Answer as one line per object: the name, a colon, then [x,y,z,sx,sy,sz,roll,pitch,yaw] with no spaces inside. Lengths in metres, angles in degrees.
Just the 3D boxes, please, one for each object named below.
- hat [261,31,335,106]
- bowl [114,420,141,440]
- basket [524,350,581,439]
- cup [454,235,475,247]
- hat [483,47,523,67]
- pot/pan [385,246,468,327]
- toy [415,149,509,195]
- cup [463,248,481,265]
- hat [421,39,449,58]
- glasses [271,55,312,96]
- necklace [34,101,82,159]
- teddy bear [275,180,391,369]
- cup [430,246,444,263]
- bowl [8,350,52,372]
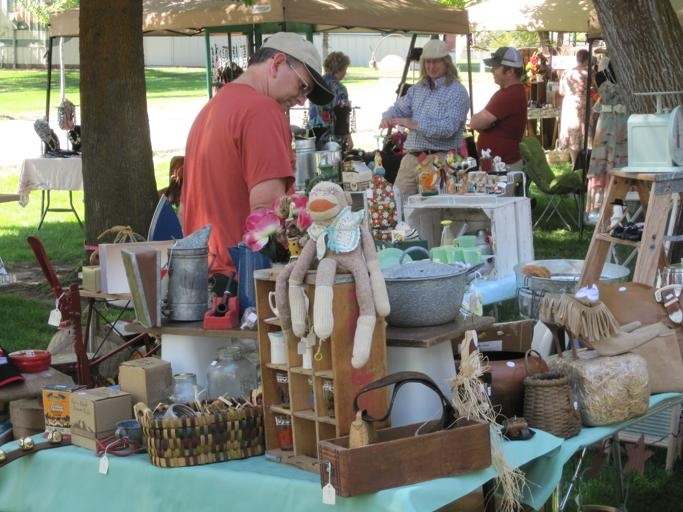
hat: [-0.208,-0.979,3.668,0.375,0.368,0.310,-6,11,-19]
bowl: [-0.892,0.725,2.990,0.077,0.051,0.083,4,-7,0]
basket: [0.876,0.586,3.035,0.318,0.318,0.246,-10,13,-35]
cup: [0.917,-0.119,5.303,0.156,0.083,0.222,-1,11,6]
hat: [1.734,-2.160,7.690,0.361,0.211,0.265,11,16,27]
pot/pan: [0.350,0.114,3.075,0.279,0.223,0.280,-2,7,8]
toy: [1.077,-0.759,6.341,0.871,0.348,0.910,0,11,12]
cup: [0.947,-0.008,5.195,0.114,0.095,0.119,-1,4,0]
hat: [0.842,-1.928,6.549,0.152,0.118,0.217,-7,20,-20]
glasses: [-0.235,-0.928,3.641,0.039,0.142,0.134,-23,-20,12]
necklace: [-4.234,-1.943,10.618,0.574,0.862,0.952,-6,11,-23]
teddy bear: [-0.030,0.074,2.706,0.358,0.697,0.354,-9,12,-36]
cup: [0.642,-0.012,4.827,0.103,0.109,0.091,-1,11,17]
bowl: [-1.722,0.579,3.946,0.199,0.095,0.219,-2,11,0]
